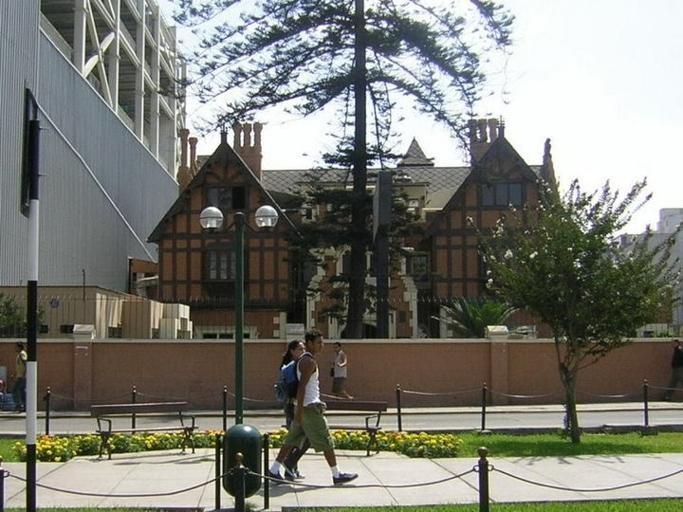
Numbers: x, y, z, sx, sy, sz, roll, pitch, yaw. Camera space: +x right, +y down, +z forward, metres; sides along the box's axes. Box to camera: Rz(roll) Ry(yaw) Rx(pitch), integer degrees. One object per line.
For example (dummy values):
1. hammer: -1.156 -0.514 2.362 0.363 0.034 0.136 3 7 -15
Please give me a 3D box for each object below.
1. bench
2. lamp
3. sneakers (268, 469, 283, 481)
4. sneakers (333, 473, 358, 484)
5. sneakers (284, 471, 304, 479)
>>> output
1. bench: -5.223 4.684 30.103 2.721 1.420 0.880 2 -3 -33
2. lamp: 0.170 4.613 30.530 2.094 1.341 0.784 0 0 29
3. sneakers: -1.607 5.089 26.053 0.530 0.215 0.180 12 -5 -5
4. sneakers: 0.114 5.189 26.287 0.618 0.251 0.230 -3 -6 -2
5. sneakers: -1.101 5.163 26.486 0.506 0.220 0.171 2 -3 -12
